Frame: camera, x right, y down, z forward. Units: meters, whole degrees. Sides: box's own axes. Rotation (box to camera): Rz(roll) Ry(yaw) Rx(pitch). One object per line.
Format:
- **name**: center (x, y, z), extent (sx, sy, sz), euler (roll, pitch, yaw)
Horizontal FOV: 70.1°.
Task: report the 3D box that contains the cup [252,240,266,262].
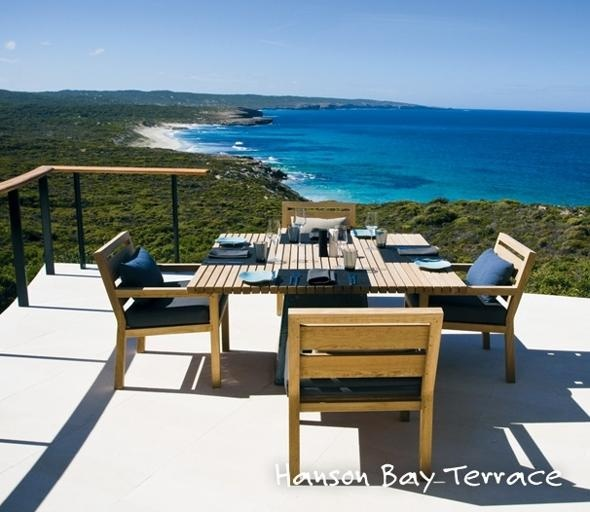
- **cup**: center (-0.202, -0.025, 2.436), extent (0.119, 0.108, 0.105), euler (-1, 20, -5)
